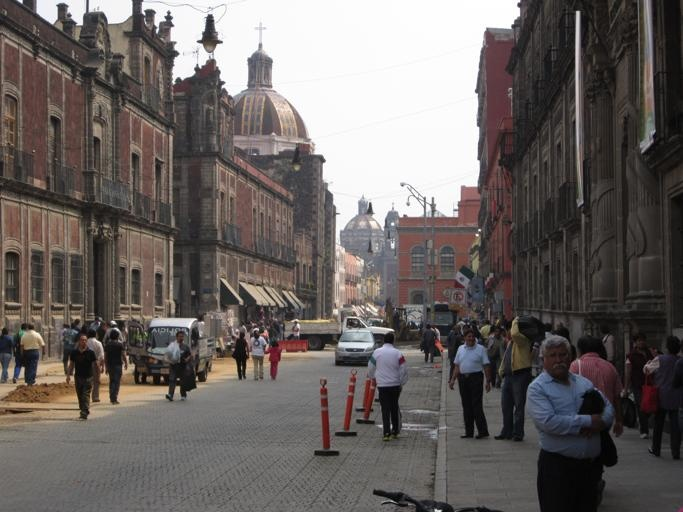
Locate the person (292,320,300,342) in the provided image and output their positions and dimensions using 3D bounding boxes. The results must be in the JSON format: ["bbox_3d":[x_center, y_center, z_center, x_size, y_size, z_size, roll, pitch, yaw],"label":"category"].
[{"bbox_3d":[-2.560,4.314,66.078,0.480,1.033,0.752,-2,-8,7],"label":"person"}]

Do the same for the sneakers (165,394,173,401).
[{"bbox_3d":[-4.659,3.920,31.204,0.096,0.131,0.305,-2,-51,5],"label":"sneakers"}]

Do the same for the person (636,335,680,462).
[{"bbox_3d":[6.039,2.663,21.448,0.644,2.286,0.399,-3,-8,16],"label":"person"}]

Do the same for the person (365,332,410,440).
[{"bbox_3d":[0.999,2.795,24.782,0.795,2.346,0.973,-1,-8,1],"label":"person"}]

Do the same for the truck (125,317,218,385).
[{"bbox_3d":[-5.717,3.173,38.154,1.587,1.561,2.821,0,-8,1],"label":"truck"}]

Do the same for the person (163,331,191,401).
[{"bbox_3d":[-4.518,3.035,31.780,0.669,1.977,1.519,0,-8,-9],"label":"person"}]

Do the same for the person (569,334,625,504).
[{"bbox_3d":[4.167,2.670,19.196,1.056,2.685,0.815,5,-26,7],"label":"person"}]

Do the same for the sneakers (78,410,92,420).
[{"bbox_3d":[-6.033,3.782,27.109,0.260,0.334,0.174,9,-11,-33],"label":"sneakers"}]

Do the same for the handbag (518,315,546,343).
[{"bbox_3d":[3.809,1.456,23.034,0.489,0.518,0.135,-29,-5,-35],"label":"handbag"}]

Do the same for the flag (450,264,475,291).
[{"bbox_3d":[4.564,0.762,42.395,0.645,0.938,1.186,-2,-9,6],"label":"flag"}]

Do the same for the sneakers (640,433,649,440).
[{"bbox_3d":[6.156,3.681,23.328,0.083,0.116,0.255,-1,-11,-2],"label":"sneakers"}]

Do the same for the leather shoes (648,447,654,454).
[{"bbox_3d":[5.815,3.665,21.560,0.131,0.117,0.193,1,-5,3],"label":"leather shoes"}]
